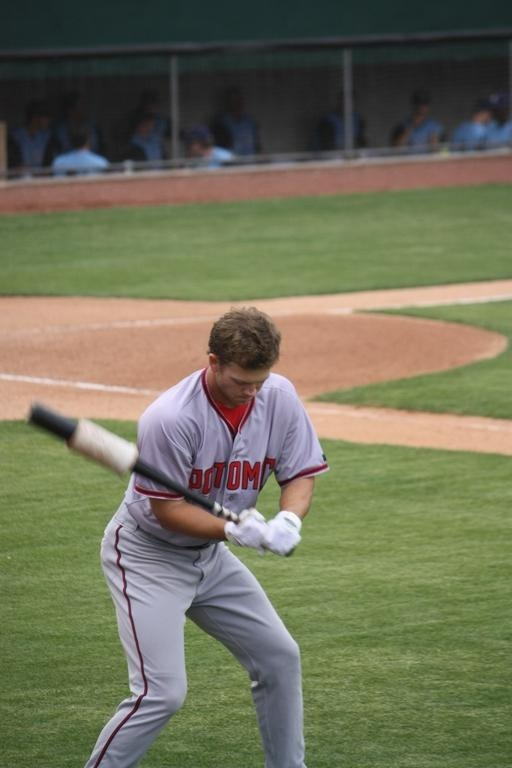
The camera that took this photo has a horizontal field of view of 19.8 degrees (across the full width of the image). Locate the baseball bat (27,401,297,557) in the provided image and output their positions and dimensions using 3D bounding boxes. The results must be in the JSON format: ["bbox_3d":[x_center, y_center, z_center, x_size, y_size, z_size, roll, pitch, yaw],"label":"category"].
[{"bbox_3d":[-0.324,0.364,5.212,1.138,0.165,0.171,26,19,-3],"label":"baseball bat"}]

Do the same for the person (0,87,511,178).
[{"bbox_3d":[0.014,-1.201,7.143,2.459,0.447,0.161,1,13,-1],"label":"person"}]
